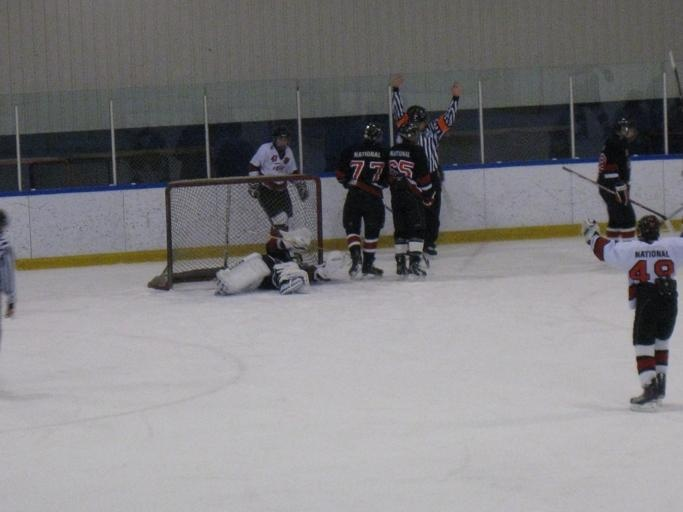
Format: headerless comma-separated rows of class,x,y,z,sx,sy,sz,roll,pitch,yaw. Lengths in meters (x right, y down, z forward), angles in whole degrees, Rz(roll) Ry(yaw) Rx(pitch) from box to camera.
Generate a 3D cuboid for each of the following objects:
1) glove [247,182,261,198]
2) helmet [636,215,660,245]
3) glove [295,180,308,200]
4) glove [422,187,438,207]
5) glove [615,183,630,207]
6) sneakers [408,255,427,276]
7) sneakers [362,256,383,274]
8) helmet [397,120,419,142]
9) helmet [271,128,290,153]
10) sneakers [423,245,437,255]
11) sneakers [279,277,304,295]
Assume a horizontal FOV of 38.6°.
glove,-0.883,-0.662,9.842,0.148,0.150,0.110,0,-1,5
helmet,1.692,-0.143,5.429,0.116,0.144,0.147,-1,7,2
glove,-0.381,-0.627,9.392,0.097,0.194,0.049,-9,-14,12
glove,0.792,-0.526,8.841,0.156,0.225,0.090,1,3,16
glove,2.676,-0.584,9.295,0.133,0.170,0.183,-5,-6,1
sneakers,0.662,0.073,8.788,0.210,0.216,0.132,0,9,3
sneakers,0.287,0.088,9.058,0.188,0.228,0.236,-1,13,3
helmet,0.592,-1.106,8.750,0.221,0.185,0.149,5,15,26
helmet,-0.621,-1.184,10.029,0.163,0.298,0.366,-2,13,-4
sneakers,0.934,-0.056,10.385,0.093,0.119,0.277,0,-2,0
sneakers,-0.419,0.250,8.119,0.241,0.113,0.097,-13,5,-1
